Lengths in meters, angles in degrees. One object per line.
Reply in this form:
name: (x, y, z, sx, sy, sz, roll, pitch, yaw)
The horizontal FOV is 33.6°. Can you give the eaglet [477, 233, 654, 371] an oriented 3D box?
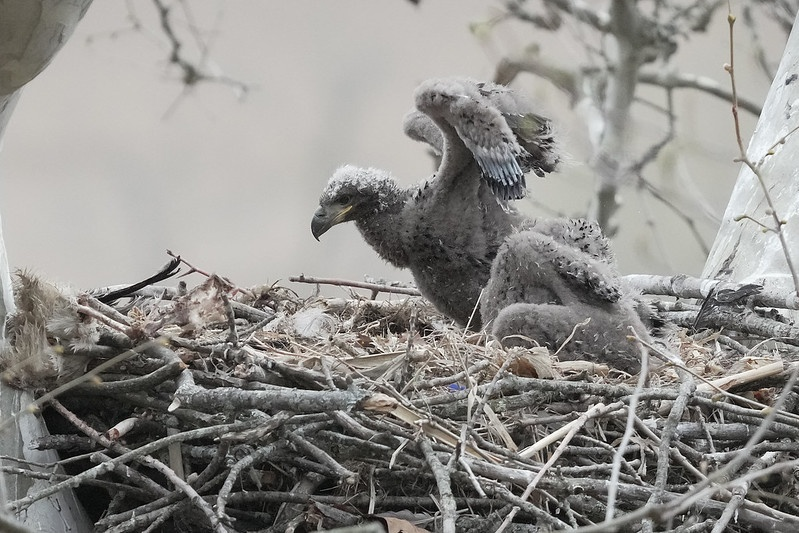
eaglet: (0.615, 0.142, 4.981, 0.613, 0.489, 0.259, 44, -34, -5)
